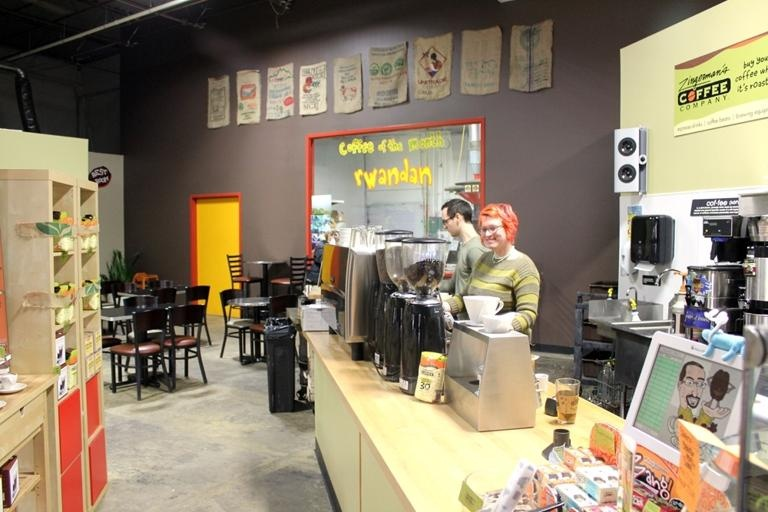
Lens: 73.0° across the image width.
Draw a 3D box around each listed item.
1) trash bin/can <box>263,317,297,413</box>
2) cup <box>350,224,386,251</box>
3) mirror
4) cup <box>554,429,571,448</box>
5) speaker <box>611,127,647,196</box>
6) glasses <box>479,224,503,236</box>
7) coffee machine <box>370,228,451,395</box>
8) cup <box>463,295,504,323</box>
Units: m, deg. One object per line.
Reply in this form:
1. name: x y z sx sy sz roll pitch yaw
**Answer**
1. trash bin/can: -1.052 1.104 5.309 0.294 0.907 0.272 -1 7 -10
2. cup: -0.147 -0.116 3.564 0.193 0.175 0.193 0 -2 0
3. mirror: 0.092 -1.030 7.929 2.771 2.049 0.082 -2 -11 13
4. cup: 0.745 0.761 2.177 0.057 0.075 0.073 1 -4 -3
5. speaker: 2.677 -1.036 5.623 0.334 0.694 0.157 4 8 27
6. glasses: 0.703 -0.170 3.399 0.146 0.074 0.056 3 7 20
7. coffee machine: 0.164 0.295 2.866 0.328 0.799 0.505 -2 7 -18
8. cup: 0.476 0.240 2.454 0.157 0.102 0.133 1 -4 -6
